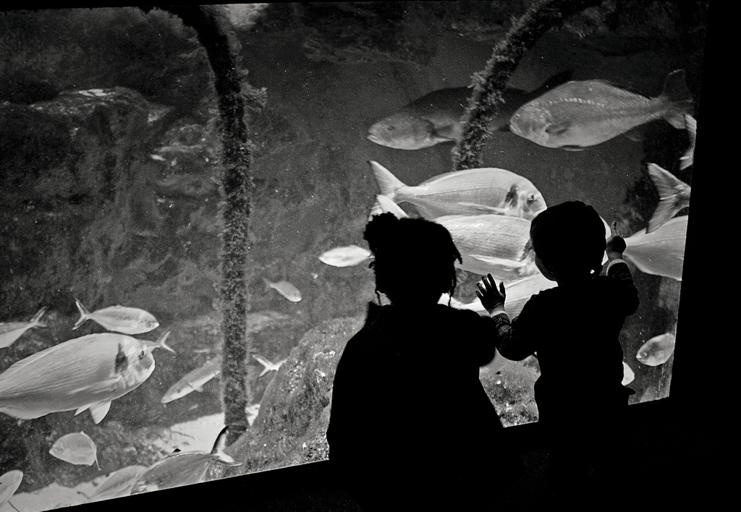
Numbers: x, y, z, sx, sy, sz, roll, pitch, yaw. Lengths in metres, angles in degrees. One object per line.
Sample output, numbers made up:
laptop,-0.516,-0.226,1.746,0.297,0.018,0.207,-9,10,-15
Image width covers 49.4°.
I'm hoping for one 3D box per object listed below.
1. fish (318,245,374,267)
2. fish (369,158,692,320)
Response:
fish,-0.142,0.009,4.573,0.305,0.127,0.064,-2,-3,-16
fish,1.121,-0.219,5.191,2.582,1.112,0.747,-1,12,-5
